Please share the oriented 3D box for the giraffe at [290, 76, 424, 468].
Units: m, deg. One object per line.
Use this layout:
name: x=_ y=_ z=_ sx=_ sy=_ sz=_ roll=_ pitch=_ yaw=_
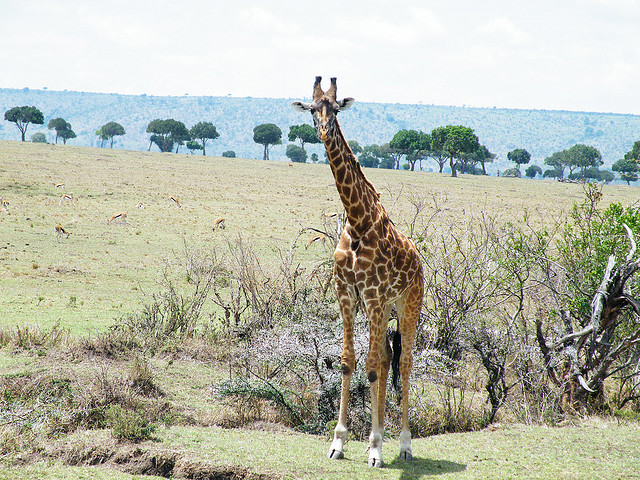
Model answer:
giraffe: x=1.502 y=0.814 z=32.596 sx=3.203 sy=11.329 sz=2.288 roll=1 pitch=9 yaw=3
